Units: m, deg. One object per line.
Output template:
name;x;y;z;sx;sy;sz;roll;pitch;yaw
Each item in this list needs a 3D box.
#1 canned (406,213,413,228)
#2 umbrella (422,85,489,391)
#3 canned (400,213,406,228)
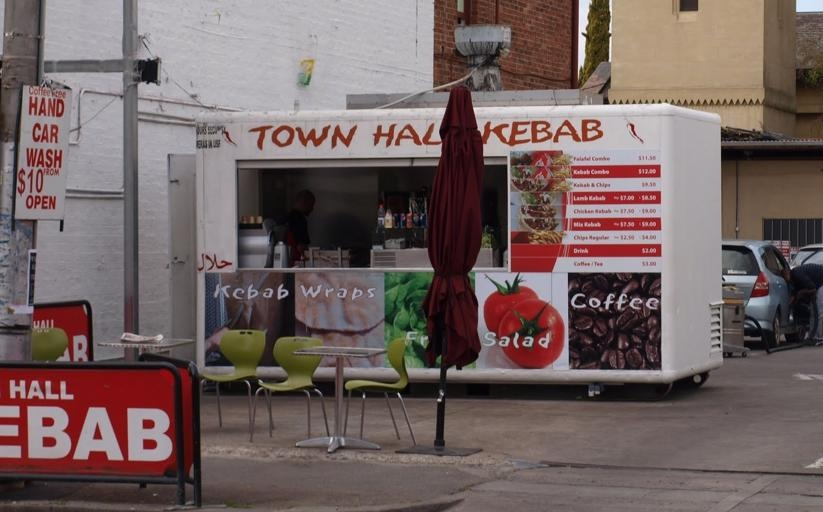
canned;-0.053;-0.609;21.019;0.122;0.246;0.173;-1;13;0
umbrella;0.542;-0.215;17.347;0.734;4.269;0.871;0;-1;-10
canned;-0.156;-0.594;21.070;0.160;0.224;0.082;10;17;41
